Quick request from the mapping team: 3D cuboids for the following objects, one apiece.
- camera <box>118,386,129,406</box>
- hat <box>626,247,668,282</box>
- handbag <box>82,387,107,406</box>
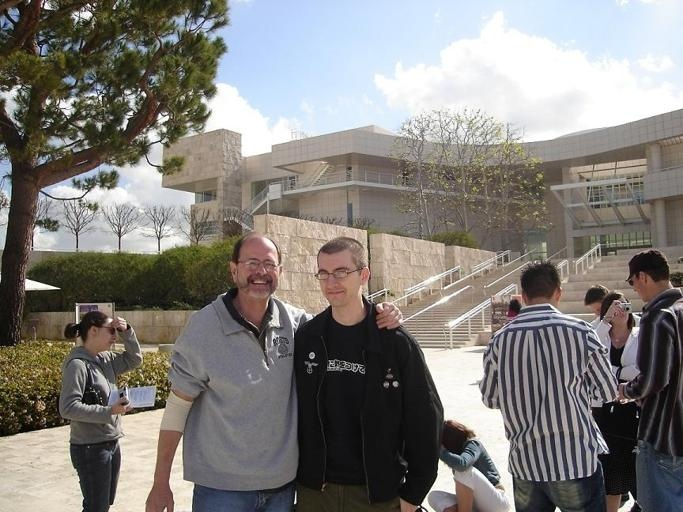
[{"bbox_3d":[-1.826,1.164,5.470,0.091,0.132,0.040,-9,-16,24],"label":"camera"},{"bbox_3d":[2.494,0.070,5.337,0.223,0.202,0.322,-2,-4,-13],"label":"hat"},{"bbox_3d":[-2.136,1.204,5.610,0.154,0.188,0.127,-2,-6,-29],"label":"handbag"}]
